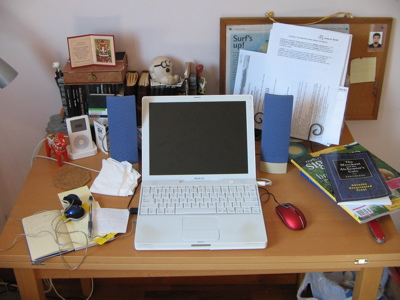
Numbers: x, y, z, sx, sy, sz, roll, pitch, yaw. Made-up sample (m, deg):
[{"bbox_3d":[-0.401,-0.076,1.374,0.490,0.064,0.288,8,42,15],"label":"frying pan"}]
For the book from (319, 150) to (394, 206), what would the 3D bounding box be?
[{"bbox_3d":[0.594,0.107,1.228,0.209,0.124,0.234,1,23,-1],"label":"book"}]

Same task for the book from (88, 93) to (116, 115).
[{"bbox_3d":[-0.453,-0.210,1.491,0.015,0.106,0.156,-1,4,35],"label":"book"}]

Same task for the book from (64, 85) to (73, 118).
[{"bbox_3d":[-0.598,-0.222,1.476,0.028,0.149,0.005,-1,24,-6],"label":"book"}]

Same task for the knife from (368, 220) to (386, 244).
[{"bbox_3d":[0.598,0.276,1.098,0.027,0.018,0.089,-4,36,1],"label":"knife"}]

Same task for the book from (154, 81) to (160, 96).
[{"bbox_3d":[-0.199,-0.285,1.497,0.026,0.050,0.093,-2,23,-8],"label":"book"}]

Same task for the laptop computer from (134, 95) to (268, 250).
[{"bbox_3d":[0.007,0.067,1.160,0.503,0.321,0.543,5,35,8],"label":"laptop computer"}]

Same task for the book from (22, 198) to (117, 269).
[{"bbox_3d":[-0.465,0.286,1.137,0.268,0.134,0.244,-11,26,-28],"label":"book"}]

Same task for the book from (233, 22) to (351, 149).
[{"bbox_3d":[0.420,-0.302,1.467,0.489,0.502,0.196,15,27,29],"label":"book"}]

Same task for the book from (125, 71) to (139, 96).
[{"bbox_3d":[-0.319,-0.318,1.512,0.047,0.050,0.137,3,55,-10],"label":"book"}]

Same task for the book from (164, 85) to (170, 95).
[{"bbox_3d":[-0.152,-0.271,1.477,0.030,0.053,0.029,5,23,6],"label":"book"}]

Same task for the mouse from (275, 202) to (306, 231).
[{"bbox_3d":[0.334,0.234,1.170,0.084,0.043,0.134,-8,32,-16],"label":"mouse"}]

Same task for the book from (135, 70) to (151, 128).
[{"bbox_3d":[-0.240,-0.243,1.513,0.077,0.248,0.100,0,-14,-2],"label":"book"}]

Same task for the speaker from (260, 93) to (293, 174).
[{"bbox_3d":[0.309,-0.055,1.349,0.132,0.322,0.059,2,11,1],"label":"speaker"}]
